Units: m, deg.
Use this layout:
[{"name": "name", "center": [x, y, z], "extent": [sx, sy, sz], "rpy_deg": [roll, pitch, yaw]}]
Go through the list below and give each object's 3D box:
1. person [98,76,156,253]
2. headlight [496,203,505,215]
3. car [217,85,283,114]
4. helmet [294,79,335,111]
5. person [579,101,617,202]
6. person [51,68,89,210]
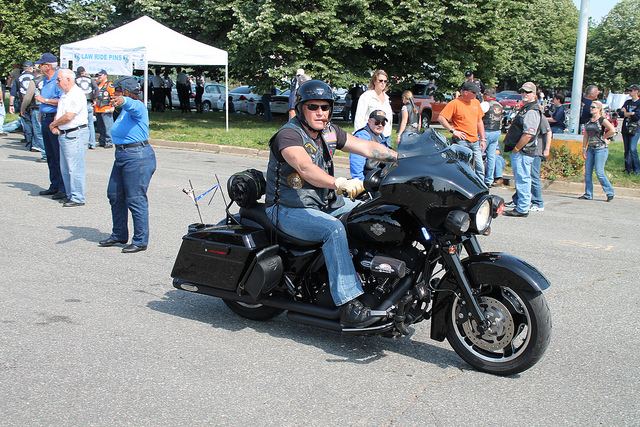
[{"name": "person", "center": [-2.698, -0.681, 8.690], "extent": [0.720, 2.405, 0.561], "rpy_deg": [-2, 12, -19]}, {"name": "headlight", "center": [1.744, -0.038, 5.924], "extent": [0.032, 0.112, 0.114], "rpy_deg": [36, -42, -17]}, {"name": "car", "center": [-3.745, -5.408, 30.872], "extent": [2.037, 1.343, 4.357], "rpy_deg": [8, 17, 31]}, {"name": "helmet", "center": [-0.018, -1.106, 6.304], "extent": [0.376, 0.321, 0.424], "rpy_deg": [-3, -15, 16]}, {"name": "person", "center": [5.946, -1.323, 13.140], "extent": [0.744, 2.071, 1.103], "rpy_deg": [7, 12, 22]}, {"name": "person", "center": [-4.300, -1.241, 10.565], "extent": [0.519, 2.358, 0.601], "rpy_deg": [1, 12, -3]}]
